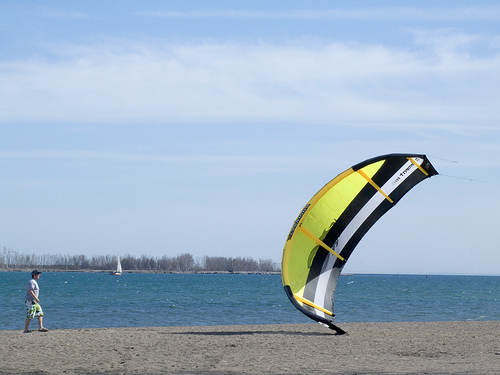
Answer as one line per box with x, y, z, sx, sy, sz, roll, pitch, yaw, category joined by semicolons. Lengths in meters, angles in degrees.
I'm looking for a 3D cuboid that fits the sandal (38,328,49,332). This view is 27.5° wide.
-12.504;8.686;62.237;0.576;0.243;0.208;-4;-11;4;sandal
